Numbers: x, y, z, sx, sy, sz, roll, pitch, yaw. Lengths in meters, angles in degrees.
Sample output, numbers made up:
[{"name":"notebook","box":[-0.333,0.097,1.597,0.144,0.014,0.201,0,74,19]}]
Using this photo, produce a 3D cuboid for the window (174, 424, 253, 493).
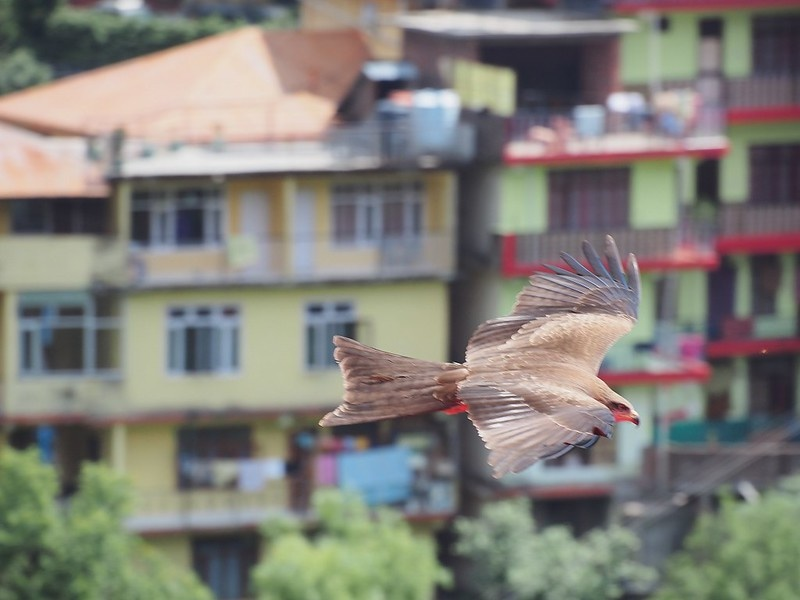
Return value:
[{"name":"window","box":[-1.625,1.401,23.216,0.709,0.511,0.146,-2,12,-19]}]

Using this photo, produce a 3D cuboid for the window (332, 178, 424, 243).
[{"name":"window","box":[-0.188,-0.766,23.404,1.045,0.552,0.033,0,0,35]}]

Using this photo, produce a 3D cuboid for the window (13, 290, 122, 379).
[{"name":"window","box":[-3.116,0.325,23.234,1.229,0.706,0.663,0,0,-44]}]

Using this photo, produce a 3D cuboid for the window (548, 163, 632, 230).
[{"name":"window","box":[1.731,-0.813,23.702,1.006,0.693,0.067,1,2,44]}]

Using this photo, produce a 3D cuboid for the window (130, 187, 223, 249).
[{"name":"window","box":[-1.915,-0.680,23.204,1.038,0.578,0.033,-1,1,34]}]

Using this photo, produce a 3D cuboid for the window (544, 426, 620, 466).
[{"name":"window","box":[1.679,1.267,23.719,0.624,0.221,0.535,-1,-8,-6]}]

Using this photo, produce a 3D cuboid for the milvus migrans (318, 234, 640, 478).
[{"name":"milvus migrans","box":[0.645,0.602,19.890,2.297,1.146,2.656,8,38,5]}]

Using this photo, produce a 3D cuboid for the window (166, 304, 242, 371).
[{"name":"window","box":[-1.697,0.398,23.264,0.780,0.574,0.066,-3,-8,32]}]
